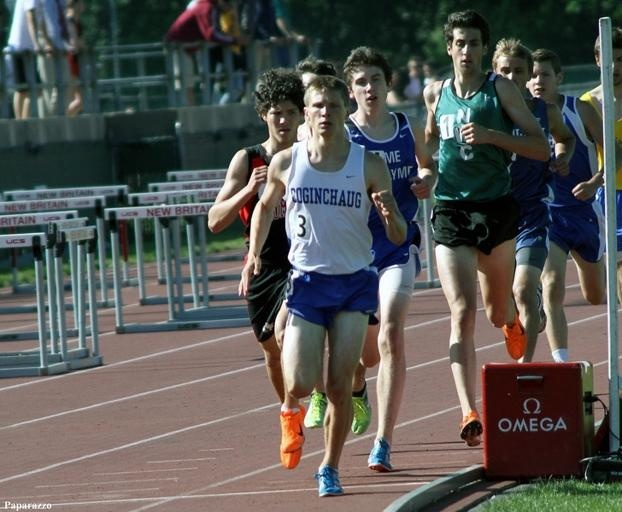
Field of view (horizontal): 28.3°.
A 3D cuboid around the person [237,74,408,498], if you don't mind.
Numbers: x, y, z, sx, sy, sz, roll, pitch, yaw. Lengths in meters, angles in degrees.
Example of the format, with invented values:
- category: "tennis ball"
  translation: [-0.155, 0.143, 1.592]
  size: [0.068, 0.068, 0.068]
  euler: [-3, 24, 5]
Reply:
- category: "person"
  translation: [0.140, 0.175, 7.301]
  size: [0.661, 2.456, 0.336]
  euler: [-3, 3, -2]

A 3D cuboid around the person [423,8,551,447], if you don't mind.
- category: "person"
  translation: [1.171, -0.240, 8.133]
  size: [0.751, 2.747, 1.043]
  euler: [-4, 3, -8]

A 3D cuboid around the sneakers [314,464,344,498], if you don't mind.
- category: "sneakers"
  translation: [0.106, 1.342, 7.345]
  size: [0.136, 0.185, 0.401]
  euler: [-3, 1, -3]

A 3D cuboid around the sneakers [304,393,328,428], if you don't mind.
- category: "sneakers"
  translation: [0.033, 1.073, 8.450]
  size: [0.102, 0.310, 0.132]
  euler: [5, -29, 8]

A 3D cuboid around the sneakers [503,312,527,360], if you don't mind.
- category: "sneakers"
  translation: [1.411, 0.575, 8.713]
  size: [0.117, 0.393, 0.145]
  euler: [-10, 0, 22]

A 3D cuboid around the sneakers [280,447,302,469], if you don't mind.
- category: "sneakers"
  translation: [-0.114, 1.209, 7.361]
  size: [0.117, 0.151, 0.126]
  euler: [1, -10, -4]

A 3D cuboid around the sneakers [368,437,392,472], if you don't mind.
- category: "sneakers"
  translation: [0.432, 1.250, 7.702]
  size: [0.133, 0.185, 0.391]
  euler: [9, 1, 1]

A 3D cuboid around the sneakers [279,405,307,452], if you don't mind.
- category: "sneakers"
  translation: [-0.106, 1.091, 7.515]
  size: [0.166, 0.350, 0.250]
  euler: [4, -24, 1]

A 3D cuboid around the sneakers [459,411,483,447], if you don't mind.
- category: "sneakers"
  translation: [0.995, 1.077, 7.675]
  size: [0.092, 0.117, 0.237]
  euler: [1, -46, -2]
